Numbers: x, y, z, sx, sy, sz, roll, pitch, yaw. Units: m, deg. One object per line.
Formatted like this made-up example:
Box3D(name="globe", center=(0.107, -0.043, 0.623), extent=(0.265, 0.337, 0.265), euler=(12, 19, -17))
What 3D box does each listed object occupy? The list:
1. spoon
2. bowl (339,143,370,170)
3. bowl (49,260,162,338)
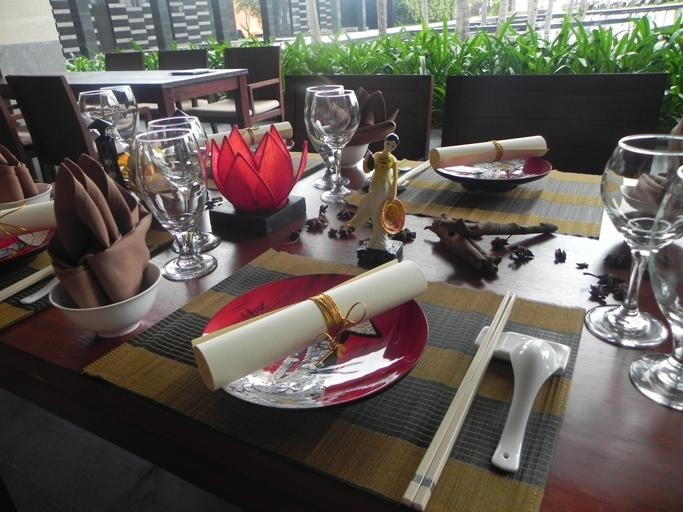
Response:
Box3D(name="spoon", center=(0.201, 0.161, 0.454), extent=(0.056, 0.045, 0.152), euler=(10, 46, 30))
Box3D(name="bowl", center=(0.036, -0.281, 1.188), extent=(0.082, 0.066, 0.083), euler=(-1, 30, 0))
Box3D(name="bowl", center=(-0.314, 0.069, 0.572), extent=(0.113, 0.051, 0.110), euler=(-2, 26, 1))
